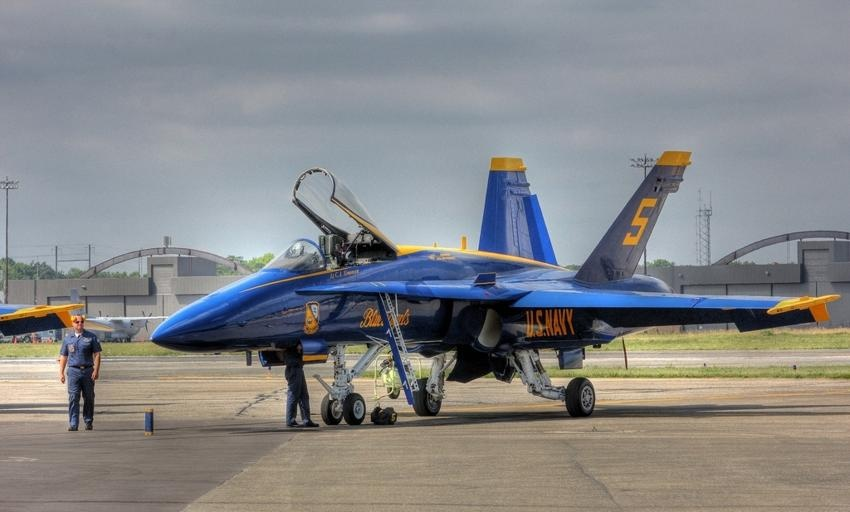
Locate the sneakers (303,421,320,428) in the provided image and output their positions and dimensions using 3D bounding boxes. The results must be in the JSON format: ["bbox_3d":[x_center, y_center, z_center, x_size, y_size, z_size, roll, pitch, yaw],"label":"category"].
[{"bbox_3d":[-3.669,5.281,43.166,0.506,0.149,0.163,-1,5,-35],"label":"sneakers"}]

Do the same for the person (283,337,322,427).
[{"bbox_3d":[-4.118,4.035,43.651,0.906,2.673,1.553,-1,7,-6],"label":"person"}]

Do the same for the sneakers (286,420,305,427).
[{"bbox_3d":[-4.179,5.265,43.290,0.666,0.201,0.187,-2,7,-3],"label":"sneakers"}]

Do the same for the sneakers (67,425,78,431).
[{"bbox_3d":[-11.019,5.309,42.507,0.293,0.160,0.150,1,7,6],"label":"sneakers"}]

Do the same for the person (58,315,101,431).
[{"bbox_3d":[-10.888,3.630,42.942,1.206,3.563,1.416,-2,8,-12],"label":"person"}]

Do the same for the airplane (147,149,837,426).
[{"bbox_3d":[1.630,0.679,48.483,21.587,8.550,11.903,-1,6,-5],"label":"airplane"}]

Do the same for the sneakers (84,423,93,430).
[{"bbox_3d":[-10.579,5.279,42.825,0.214,0.216,0.338,-2,7,-16],"label":"sneakers"}]
